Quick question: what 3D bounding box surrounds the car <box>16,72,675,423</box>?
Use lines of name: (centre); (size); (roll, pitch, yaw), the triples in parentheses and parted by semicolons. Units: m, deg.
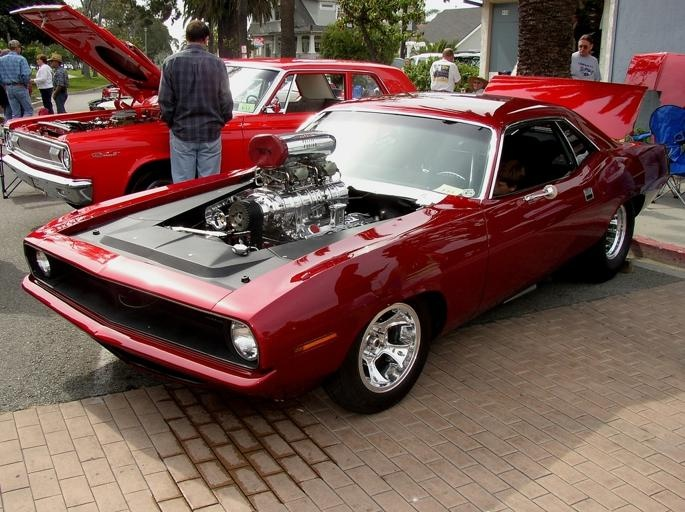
car: (0.973, -0.412, 4.267); (5.625, 1.283, 2.382); (-11, 18, -34)
